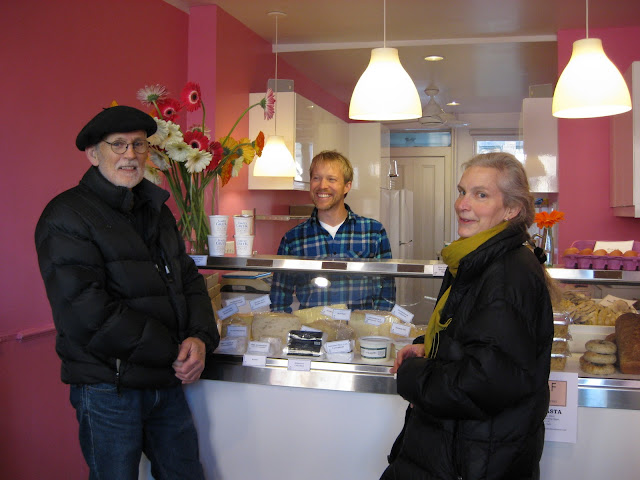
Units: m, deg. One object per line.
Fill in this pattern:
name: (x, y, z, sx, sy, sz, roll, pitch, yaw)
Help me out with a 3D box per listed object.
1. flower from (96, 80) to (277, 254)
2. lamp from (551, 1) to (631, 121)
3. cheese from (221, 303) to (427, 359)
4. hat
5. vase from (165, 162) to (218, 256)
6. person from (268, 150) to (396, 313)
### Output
flower: (-0.574, -0.381, 2.339, 0.818, 0.958, 0.790, 1, -1, 8)
lamp: (1.271, -0.832, 2.571, 0.362, 0.608, 0.398, 4, 6, 17)
cheese: (0.020, 0.312, 2.215, 0.739, 0.199, 0.471, 2, 5, 18)
hat: (-0.785, -0.424, 2.061, 0.256, 0.189, 0.264, 2, 6, 2)
vase: (-0.633, -0.154, 2.489, 0.203, 0.420, 0.238, 2, 6, 7)
person: (0.061, 0.332, 2.877, 0.734, 1.601, 0.388, 0, 0, 7)
